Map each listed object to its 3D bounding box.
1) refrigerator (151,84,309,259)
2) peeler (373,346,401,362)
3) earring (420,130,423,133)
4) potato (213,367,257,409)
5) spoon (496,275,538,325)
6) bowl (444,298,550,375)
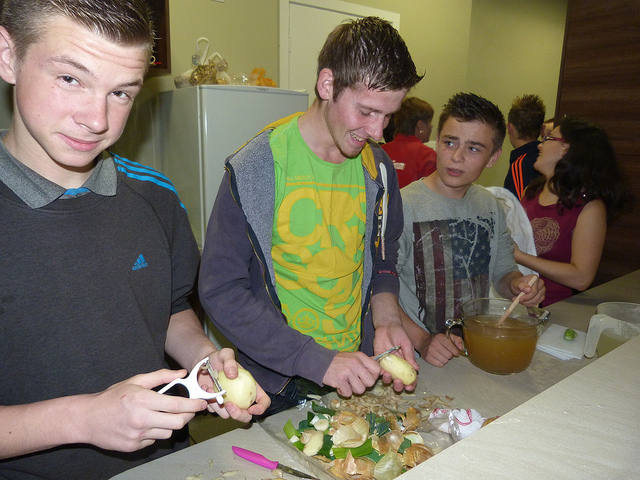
[{"bbox_3d":[-0.770,-0.537,3.236,1.073,1.043,0.704,7,21,19],"label":"refrigerator"},{"bbox_3d":[0.197,0.335,1.360,0.058,0.012,0.025,-31,1,-4],"label":"peeler"},{"bbox_3d":[0.852,-0.913,3.946,0.016,0.017,0.016,8,26,28],"label":"earring"},{"bbox_3d":[-0.200,0.348,1.144,0.093,0.103,0.088,16,-11,-24],"label":"potato"},{"bbox_3d":[0.682,0.212,1.609,0.014,0.167,0.019,35,18,-13],"label":"spoon"},{"bbox_3d":[0.544,0.283,1.458,0.252,0.183,0.225,-3,17,4],"label":"bowl"}]
